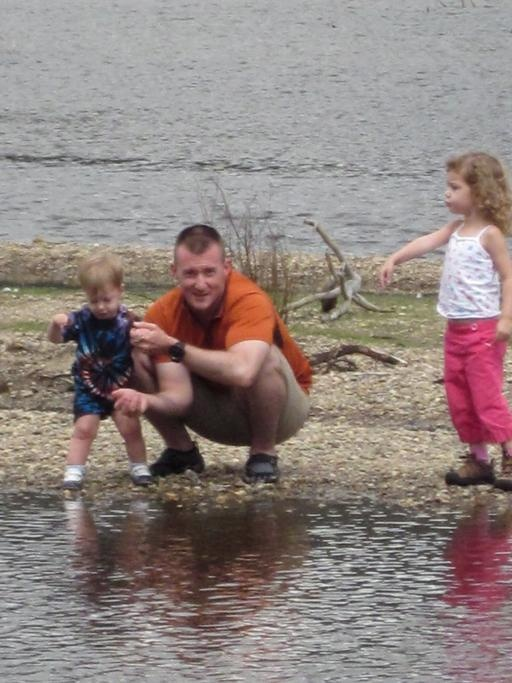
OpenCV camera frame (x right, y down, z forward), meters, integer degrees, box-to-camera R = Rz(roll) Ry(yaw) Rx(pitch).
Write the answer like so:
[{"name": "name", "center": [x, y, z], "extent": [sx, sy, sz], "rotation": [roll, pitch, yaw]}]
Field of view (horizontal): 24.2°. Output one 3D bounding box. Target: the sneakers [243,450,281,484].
[{"name": "sneakers", "center": [0.026, 0.474, 4.462], "extent": [0.108, 0.075, 0.189], "rotation": [1, -7, -4]}]

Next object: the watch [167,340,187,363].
[{"name": "watch", "center": [-0.276, 0.038, 4.213], "extent": [0.059, 0.076, 0.054], "rotation": [1, 8, -5]}]

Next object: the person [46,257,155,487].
[{"name": "person", "center": [-0.559, 0.107, 4.343], "extent": [0.379, 0.831, 0.344], "rotation": [1, 8, -6]}]

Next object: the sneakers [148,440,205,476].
[{"name": "sneakers", "center": [-0.294, 0.463, 4.630], "extent": [0.240, 0.096, 0.081], "rotation": [-6, 5, -19]}]

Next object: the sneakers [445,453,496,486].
[{"name": "sneakers", "center": [0.797, 0.483, 4.442], "extent": [0.180, 0.105, 0.195], "rotation": [2, 7, 10]}]

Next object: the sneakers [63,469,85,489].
[{"name": "sneakers", "center": [-0.646, 0.496, 4.283], "extent": [0.067, 0.065, 0.168], "rotation": [0, -7, -2]}]
